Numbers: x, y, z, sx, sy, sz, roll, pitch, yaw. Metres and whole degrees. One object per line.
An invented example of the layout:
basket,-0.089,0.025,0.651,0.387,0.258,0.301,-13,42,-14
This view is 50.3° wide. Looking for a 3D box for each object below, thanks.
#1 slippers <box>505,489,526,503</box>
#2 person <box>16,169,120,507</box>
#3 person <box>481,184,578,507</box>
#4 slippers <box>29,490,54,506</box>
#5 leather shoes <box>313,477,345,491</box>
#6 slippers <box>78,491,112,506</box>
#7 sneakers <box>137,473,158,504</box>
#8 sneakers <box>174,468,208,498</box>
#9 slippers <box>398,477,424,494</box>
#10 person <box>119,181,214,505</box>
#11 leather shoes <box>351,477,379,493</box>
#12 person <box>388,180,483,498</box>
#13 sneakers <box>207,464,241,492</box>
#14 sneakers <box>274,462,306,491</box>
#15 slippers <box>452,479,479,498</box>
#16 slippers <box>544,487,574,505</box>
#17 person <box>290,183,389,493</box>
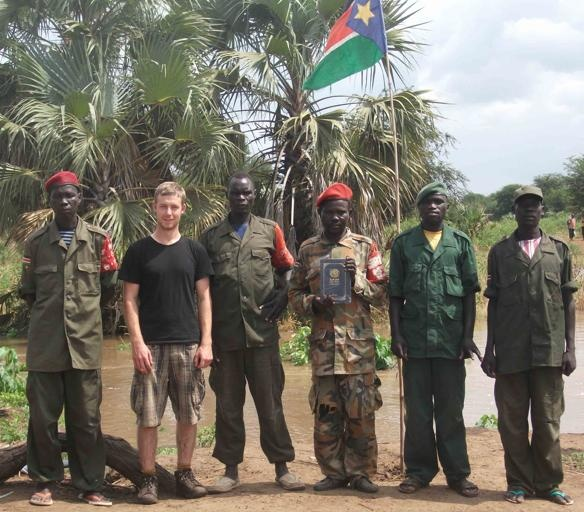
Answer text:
slippers,1.708,1.813,4.726,0.177,0.080,0.166,-4,-8,10
person,-1.684,0.608,4.733,0.679,2.491,0.341,1,-8,-24
person,1.854,0.666,4.840,0.748,2.404,0.308,-4,-7,16
slippers,-1.800,1.748,4.496,0.082,0.082,0.174,14,-21,-20
leather shoes,0.302,1.813,4.984,0.276,0.114,0.096,4,-3,-16
slippers,-1.448,1.795,4.635,0.244,0.104,0.102,-2,-10,21
sneakers,-1.075,1.741,4.686,0.164,0.213,0.155,-4,-7,16
sneakers,-0.795,1.763,4.851,0.136,0.190,0.328,2,-6,-41
slippers,0.925,1.787,4.873,0.085,0.089,0.220,5,2,37
person,-0.954,0.638,4.793,0.688,2.420,0.324,0,-7,-15
leather shoes,0.568,1.791,4.898,0.089,0.070,0.182,2,-8,-34
person,1.155,0.793,4.957,0.706,2.149,0.239,-3,-7,8
sneakers,-0.512,1.774,4.921,0.123,0.197,0.287,-10,-20,26
sneakers,-0.011,1.764,4.974,0.123,0.121,0.293,2,-5,-28
slippers,1.354,1.806,4.822,0.088,0.081,0.187,-1,-12,-17
slippers,2.008,1.820,4.698,0.080,0.063,0.146,-4,-10,-21
person,0.394,0.800,4.995,0.783,2.115,0.371,-3,-7,6
